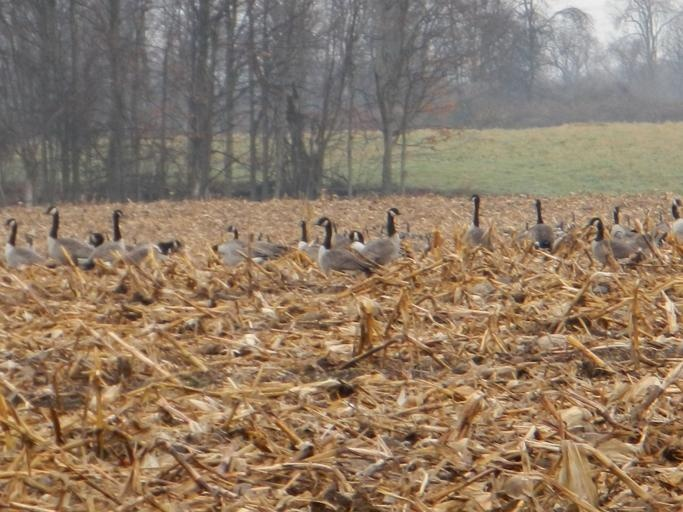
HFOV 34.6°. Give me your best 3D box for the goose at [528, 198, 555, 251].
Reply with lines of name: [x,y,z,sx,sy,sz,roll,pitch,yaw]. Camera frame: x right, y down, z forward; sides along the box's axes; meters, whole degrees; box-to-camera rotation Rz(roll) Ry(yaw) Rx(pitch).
goose: [7.549,-1.123,41.450,0.694,1.726,2.133,-7,51,10]
